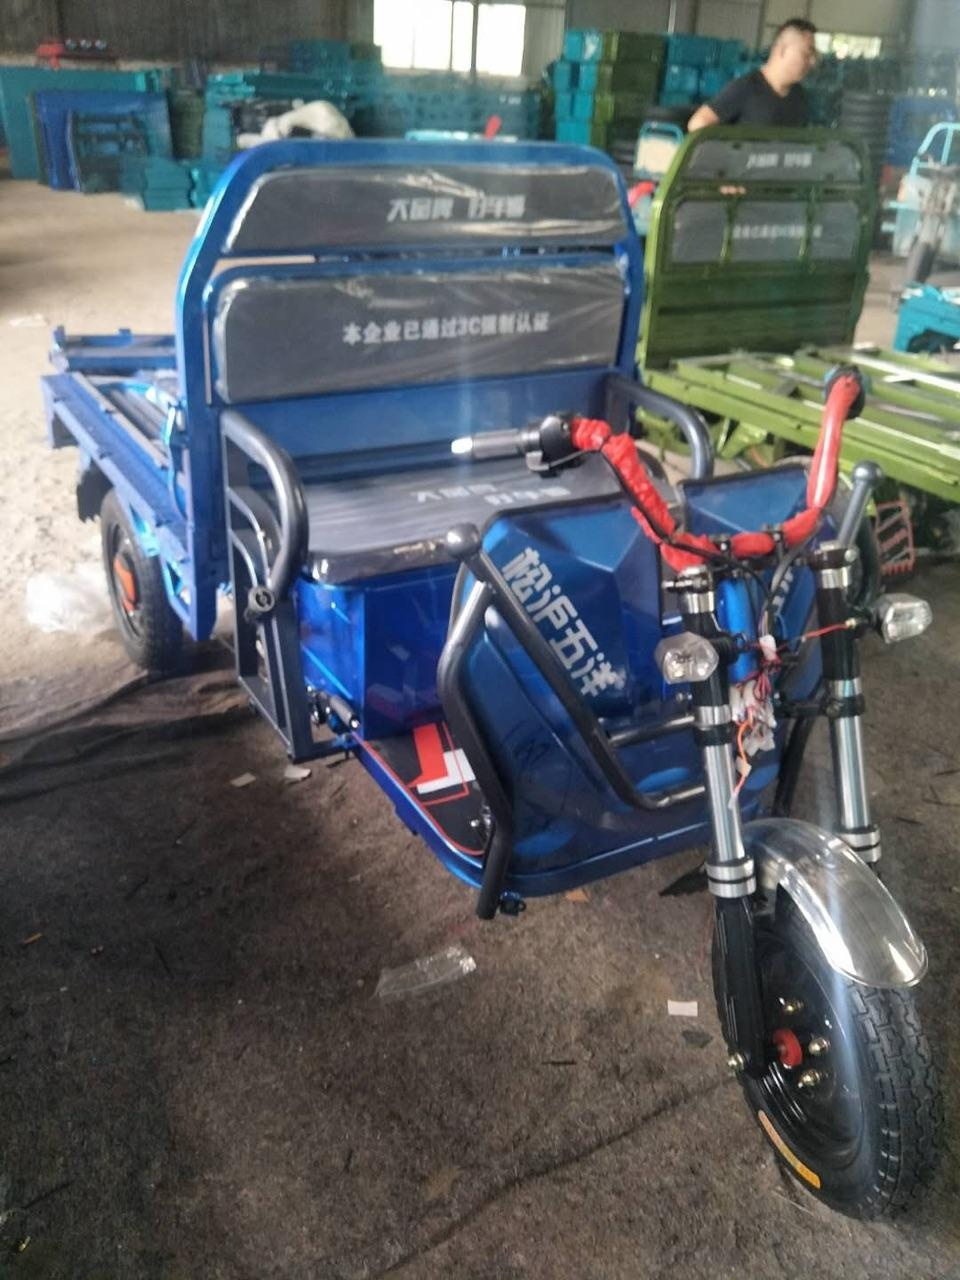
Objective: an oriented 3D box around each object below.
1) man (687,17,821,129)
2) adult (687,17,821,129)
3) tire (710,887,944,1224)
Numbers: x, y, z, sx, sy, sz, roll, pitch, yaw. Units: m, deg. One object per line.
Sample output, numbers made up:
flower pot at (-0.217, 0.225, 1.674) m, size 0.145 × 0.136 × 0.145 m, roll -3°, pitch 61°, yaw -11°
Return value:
man at (1.627, -3.263, 5.145) m, size 0.655 × 0.534 × 0.369 m, roll 3°, pitch 30°, yaw 1°
adult at (1.627, -3.270, 5.150) m, size 0.591 × 0.527 × 0.437 m, roll 12°, pitch 31°, yaw 16°
tire at (0.536, 0.664, 1.395) m, size 0.104 × 0.470 × 0.472 m, roll -21°, pitch 14°, yaw -11°
